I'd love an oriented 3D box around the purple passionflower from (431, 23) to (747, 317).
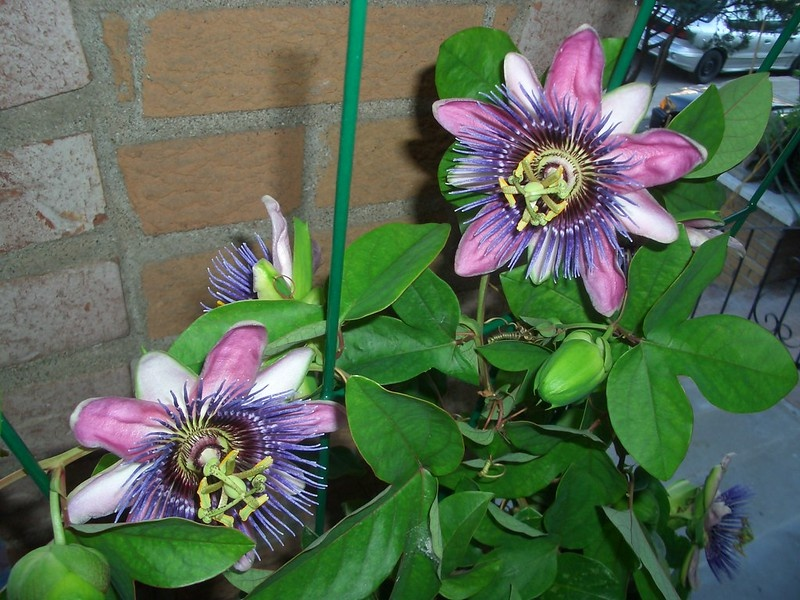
[{"bbox_3d":[0.112,-0.083,0.496,0.073,0.190,0.215,-18,81,-59],"label":"purple passionflower"}]
